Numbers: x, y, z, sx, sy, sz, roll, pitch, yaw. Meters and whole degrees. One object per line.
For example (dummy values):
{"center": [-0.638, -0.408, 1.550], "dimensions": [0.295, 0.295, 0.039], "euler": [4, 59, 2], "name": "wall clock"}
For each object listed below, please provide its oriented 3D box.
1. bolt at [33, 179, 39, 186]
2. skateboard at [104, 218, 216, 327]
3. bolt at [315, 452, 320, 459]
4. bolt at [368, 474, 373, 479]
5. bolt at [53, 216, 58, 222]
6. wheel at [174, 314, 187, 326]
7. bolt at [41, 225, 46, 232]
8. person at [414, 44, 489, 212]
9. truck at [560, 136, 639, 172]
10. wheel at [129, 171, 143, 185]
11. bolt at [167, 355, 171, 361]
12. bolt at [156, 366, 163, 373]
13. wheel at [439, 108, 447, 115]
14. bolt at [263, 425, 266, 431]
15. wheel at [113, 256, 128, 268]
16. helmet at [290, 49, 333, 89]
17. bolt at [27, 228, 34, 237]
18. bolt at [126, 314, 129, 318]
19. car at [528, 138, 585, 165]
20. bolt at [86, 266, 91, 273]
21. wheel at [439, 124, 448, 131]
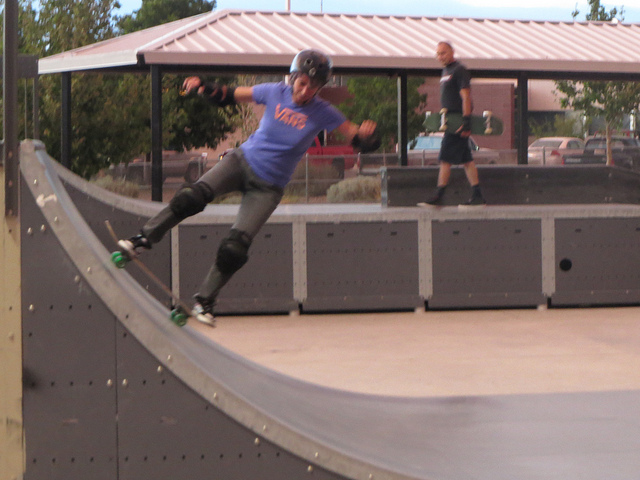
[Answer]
{"center": [-4.066, -0.807, 23.131], "dimensions": [0.045, 0.086, 0.028], "euler": [-1, 11, -1], "name": "bolt"}
{"center": [-2.563, 0.550, 25.353], "dimensions": [0.293, 1.851, 0.348], "euler": [-31, 21, -4], "name": "skateboard"}
{"center": [-0.034, 3.074, 22.947], "dimensions": [0.070, 0.086, 0.021], "euler": [0, -4, 1], "name": "bolt"}
{"center": [0.729, 3.378, 22.952], "dimensions": [0.063, 0.059, 0.020], "euler": [-1, 11, -1], "name": "bolt"}
{"center": [-3.775, -0.278, 23.044], "dimensions": [0.059, 0.074, 0.019], "euler": [5, 1, -13], "name": "bolt"}
{"center": [-2.081, 1.210, 24.079], "dimensions": [0.103, 0.168, 0.221], "euler": [7, 16, 35], "name": "wheel"}
{"center": [-3.943, -0.157, 23.040], "dimensions": [0.064, 0.077, 0.025], "euler": [-3, 11, -10], "name": "bolt"}
{"center": [2.396, -1.965, 28.542], "dimensions": [1.164, 2.957, 1.164], "euler": [0, 11, 7], "name": "person"}
{"center": [7.395, -1.767, 41.634], "dimensions": [1.365, 1.255, 2.294], "euler": [5, 12, 42], "name": "truck"}
{"center": [-4.137, -1.378, 36.504], "dimensions": [0.244, 0.219, 0.258], "euler": [-1, 7, 0], "name": "wheel"}
{"center": [-2.140, 1.690, 22.935], "dimensions": [0.047, 0.078, 0.021], "euler": [2, 2, -8], "name": "bolt"}
{"center": [-2.267, 1.854, 22.950], "dimensions": [0.073, 0.088, 0.017], "euler": [1, 11, 9], "name": "bolt"}
{"center": [2.168, -2.245, 28.425], "dimensions": [0.090, 0.127, 0.230], "euler": [-6, 14, -23], "name": "wheel"}
{"center": [-0.780, 2.674, 22.932], "dimensions": [0.039, 0.059, 0.017], "euler": [-4, 12, -13], "name": "bolt"}
{"center": [-2.981, 0.369, 24.182], "dimensions": [0.171, 0.146, 0.167], "euler": [-15, -39, -12], "name": "wheel"}
{"center": [-0.123, -2.684, 25.089], "dimensions": [0.443, 0.640, 0.625], "euler": [18, -25, -10], "name": "helmet"}
{"center": [-4.132, -0.094, 23.037], "dimensions": [0.064, 0.111, 0.065], "euler": [-13, 2, -10], "name": "bolt"}
{"center": [-2.740, 1.097, 22.958], "dimensions": [0.051, 0.059, 0.013], "euler": [-2, 2, -36], "name": "bolt"}
{"center": [6.446, -2.344, 43.502], "dimensions": [0.886, 0.829, 2.228], "euler": [1, 10, 28], "name": "car"}
{"center": [-3.290, 0.435, 23.001], "dimensions": [0.042, 0.131, 0.031], "euler": [2, 4, -6], "name": "bolt"}
{"center": [2.184, -1.952, 28.327], "dimensions": [0.145, 0.112, 0.094], "euler": [1, 12, 8], "name": "wheel"}
